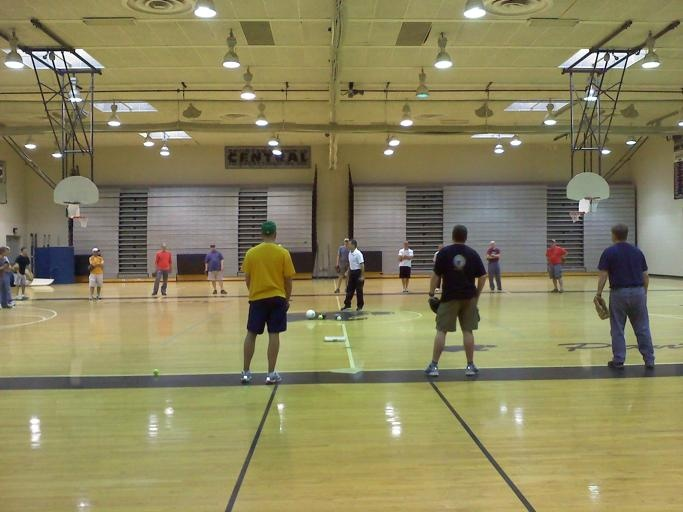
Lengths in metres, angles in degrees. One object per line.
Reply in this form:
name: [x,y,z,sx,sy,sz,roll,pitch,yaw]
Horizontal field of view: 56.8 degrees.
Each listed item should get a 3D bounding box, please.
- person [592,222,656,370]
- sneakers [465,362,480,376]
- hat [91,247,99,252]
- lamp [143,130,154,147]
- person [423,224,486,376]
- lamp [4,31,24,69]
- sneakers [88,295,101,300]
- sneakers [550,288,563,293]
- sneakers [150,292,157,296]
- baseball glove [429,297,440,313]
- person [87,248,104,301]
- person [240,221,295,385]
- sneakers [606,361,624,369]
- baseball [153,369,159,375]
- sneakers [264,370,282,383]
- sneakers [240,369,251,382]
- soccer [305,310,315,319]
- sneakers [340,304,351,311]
person: [3.727,0.518,8.291,0.702,1.795,0.680,1,12,4]
sneakers: [1.649,1.454,8.026,0.227,0.141,0.085,0,0,-44]
hat: [-7.987,-0.210,20.381,0.224,0.122,0.179,-1,5,-2]
lamp: [-6.289,-3.785,20.542,0.233,0.589,3.423,-4,13,-16]
person: [1.443,0.585,8.011,0.752,1.907,0.467,0,12,0]
lamp: [-6.610,-4.140,12.681,0.293,0.732,2.291,-6,14,-26]
sneakers: [-6.505,1.106,16.609,0.329,0.133,0.122,-3,-1,18]
sneakers: [5.757,0.922,16.832,0.357,0.139,0.131,1,-1,7]
sneakers: [-5.268,1.065,17.660,0.158,0.153,0.095,4,-6,-5]
baseball glove: [1.203,0.633,8.142,0.154,0.193,0.192,1,-11,-5]
person: [-6.664,0.520,17.059,0.379,1.569,1.735,-5,13,-21]
person: [-0.944,0.586,7.936,0.698,2.010,0.776,-2,12,-9]
sneakers: [3.559,1.414,8.245,0.082,0.078,0.186,-1,5,-16]
baseball: [-2.419,1.516,8.229,0.061,0.071,0.062,3,8,18]
sneakers: [-0.852,1.508,7.861,0.097,0.103,0.230,1,4,9]
sneakers: [-1.210,1.505,7.925,0.120,0.135,0.321,0,-8,-2]
soccer: [-0.614,1.157,12.250,0.151,0.153,0.159,-11,28,21]
sneakers: [0.082,1.140,13.585,0.263,0.120,0.084,4,-6,-27]
